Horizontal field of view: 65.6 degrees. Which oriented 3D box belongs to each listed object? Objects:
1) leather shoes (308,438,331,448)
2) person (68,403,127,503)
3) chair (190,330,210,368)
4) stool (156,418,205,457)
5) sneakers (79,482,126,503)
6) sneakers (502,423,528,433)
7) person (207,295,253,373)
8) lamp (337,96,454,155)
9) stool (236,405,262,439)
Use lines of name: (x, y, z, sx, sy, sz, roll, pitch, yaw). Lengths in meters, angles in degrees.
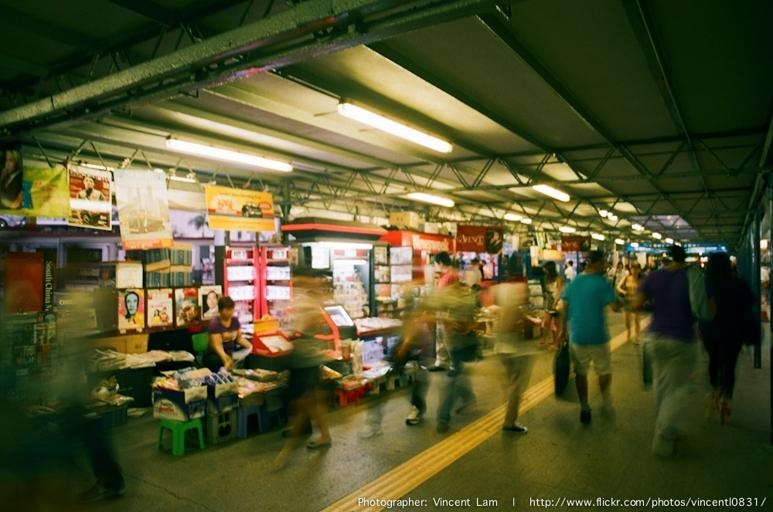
leather shoes: (-1.023, 2.809, 8.958, 0.362, 0.130, 0.135, 6, -9, -6)
person: (-3.830, 2.553, 7.835, 0.378, 1.266, 0.833, 2, -1, 23)
chair: (-3.508, 1.792, 11.128, 0.290, 0.561, 1.651, 3, 0, -17)
stool: (-3.097, 2.712, 9.171, 0.621, 0.451, 0.633, -4, -7, 38)
sneakers: (-3.786, 3.160, 7.974, 0.567, 0.231, 0.201, 8, 4, -28)
sneakers: (1.980, 2.664, 9.296, 0.421, 0.162, 0.137, -3, -4, 10)
person: (-2.739, 1.448, 10.508, 0.684, 1.072, 0.783, 1, -1, 43)
lamp: (0.310, -2.363, 10.520, 2.451, 0.173, 0.336, 13, 14, -34)
stool: (-2.175, 2.599, 9.500, 0.256, 0.425, 0.370, 2, -1, 27)
